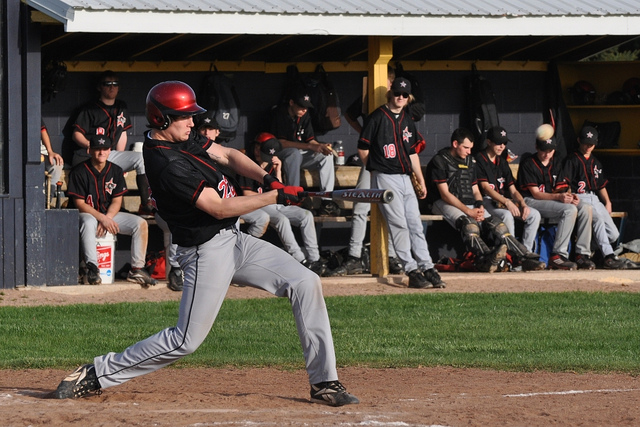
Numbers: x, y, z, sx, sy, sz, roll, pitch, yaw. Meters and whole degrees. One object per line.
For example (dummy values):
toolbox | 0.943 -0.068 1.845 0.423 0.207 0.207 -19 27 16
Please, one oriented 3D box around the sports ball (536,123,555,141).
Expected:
sports ball | 2.960 -1.061 16.502 0.251 0.178 0.178 3 -7 17

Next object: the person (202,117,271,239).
person | -0.861 -0.354 13.014 0.825 0.992 1.709 -1 5 -10

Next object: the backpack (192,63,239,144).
backpack | -1.325 -1.458 16.492 0.595 0.906 0.356 -2 4 -2

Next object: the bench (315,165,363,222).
bench | 0.299 -0.087 16.290 0.692 0.730 1.151 -1 3 2

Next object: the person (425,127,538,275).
person | 2.077 -0.211 15.795 0.943 1.276 1.927 -1 28 -31

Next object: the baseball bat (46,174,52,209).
baseball bat | -3.216 -0.259 14.850 0.050 0.408 0.167 2 -1 -12

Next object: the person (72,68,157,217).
person | -2.601 -0.887 15.765 0.919 1.781 1.376 -2 5 -30

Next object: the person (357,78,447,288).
person | 0.961 -0.343 14.866 0.910 2.457 0.522 3 -2 -35

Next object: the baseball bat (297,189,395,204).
baseball bat | 0.283 -0.174 12.679 0.865 0.087 0.114 5 -22 4
